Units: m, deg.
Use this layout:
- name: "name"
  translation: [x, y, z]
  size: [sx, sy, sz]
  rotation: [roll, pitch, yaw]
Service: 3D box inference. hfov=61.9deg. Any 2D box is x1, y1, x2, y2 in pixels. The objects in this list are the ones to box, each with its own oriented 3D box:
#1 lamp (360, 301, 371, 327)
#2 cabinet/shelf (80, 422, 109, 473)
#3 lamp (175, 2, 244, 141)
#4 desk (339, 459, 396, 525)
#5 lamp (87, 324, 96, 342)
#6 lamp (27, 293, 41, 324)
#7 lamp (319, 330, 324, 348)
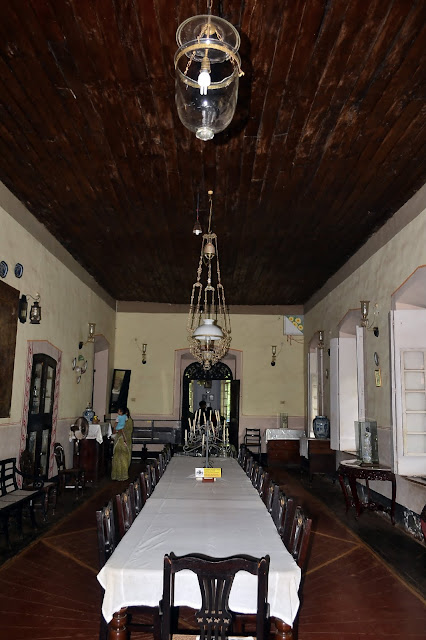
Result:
- name: "lamp"
  translation: [2.825, -0.100, 6.583]
  size: [0.154, 0.458, 0.485]
  rotation: [-3, -8, 25]
- name: "cabinet/shelf"
  translation: [-2.718, 2.904, 8.038]
  size: [0.473, 0.999, 1.089]
  rotation: [0, -25, 1]
- name: "lamp"
  translation: [-0.019, -0.846, 1.185]
  size: [0.239, 0.453, 0.253]
  rotation: [0, -7, 1]
- name: "desk"
  translation: [2.493, 2.785, 5.701]
  size: [0.695, 0.972, 1.221]
  rotation: [-1, -17, 3]
- name: "lamp"
  translation: [-3.236, 0.318, 9.417]
  size: [0.166, 0.550, 0.487]
  rotation: [3, -8, -23]
- name: "lamp"
  translation: [-3.122, -0.217, 6.227]
  size: [0.186, 0.588, 0.548]
  rotation: [3, -8, -23]
- name: "lamp"
  translation: [3.059, 0.563, 10.015]
  size: [0.138, 0.462, 0.302]
  rotation: [-2, -8, 16]
